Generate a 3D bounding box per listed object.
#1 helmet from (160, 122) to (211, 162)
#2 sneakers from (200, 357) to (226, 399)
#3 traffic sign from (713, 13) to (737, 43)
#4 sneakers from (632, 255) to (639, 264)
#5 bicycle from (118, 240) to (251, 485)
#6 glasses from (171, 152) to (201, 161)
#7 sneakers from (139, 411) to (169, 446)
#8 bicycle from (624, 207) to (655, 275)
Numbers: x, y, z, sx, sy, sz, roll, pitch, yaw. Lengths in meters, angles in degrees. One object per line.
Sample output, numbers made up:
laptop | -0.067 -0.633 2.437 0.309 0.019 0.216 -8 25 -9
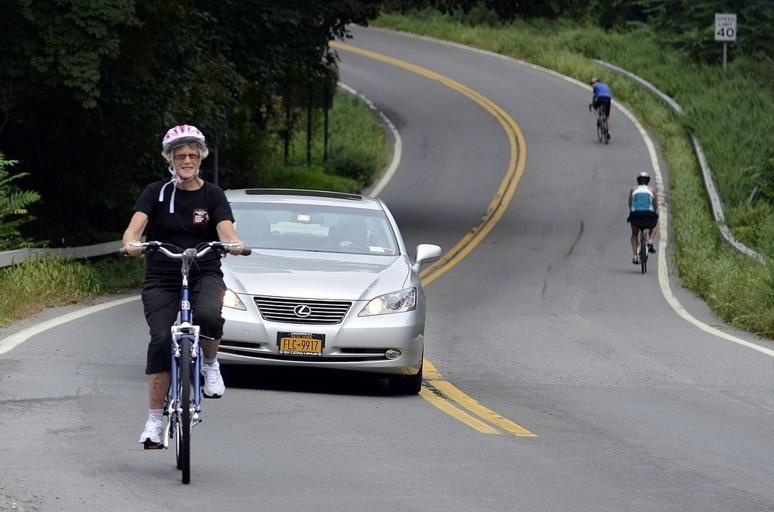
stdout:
helmet | -2.210 -1.252 12.297 0.341 0.268 0.501 -3 -2 -9
sneakers | -1.873 1.344 12.154 0.164 0.217 0.505 -9 40 -8
traffic sign | 12.251 -8.317 40.700 0.712 0.928 0.742 4 9 13
sneakers | 5.688 0.091 25.718 0.142 0.263 0.479 4 9 12
bicycle | -2.033 1.080 11.945 0.831 2.437 0.988 -4 10 -35
glasses | -2.155 -1.079 12.117 0.287 0.098 0.090 -2 10 -25
sneakers | -2.489 1.836 12.017 0.182 0.291 0.548 0 6 0
bicycle | 5.838 -0.363 25.609 0.597 1.356 1.020 0 9 -13
